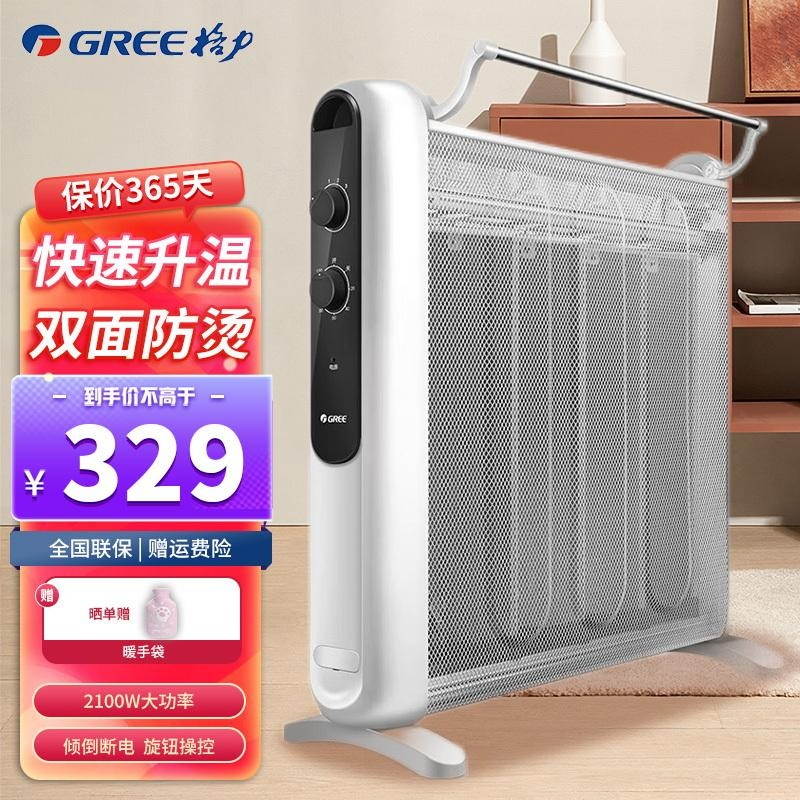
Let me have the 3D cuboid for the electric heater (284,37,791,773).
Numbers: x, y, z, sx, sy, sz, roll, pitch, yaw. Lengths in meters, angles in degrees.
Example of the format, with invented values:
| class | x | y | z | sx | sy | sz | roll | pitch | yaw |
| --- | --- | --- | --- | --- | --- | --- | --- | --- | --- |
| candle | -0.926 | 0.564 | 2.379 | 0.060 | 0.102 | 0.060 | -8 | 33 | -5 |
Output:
| class | x | y | z | sx | sy | sz | roll | pitch | yaw |
| --- | --- | --- | --- | --- | --- | --- | --- | --- | --- |
| electric heater | 0.179 | 0.000 | 1.252 | 0.652 | 0.814 | 0.191 | -3 | 5 | -36 |
